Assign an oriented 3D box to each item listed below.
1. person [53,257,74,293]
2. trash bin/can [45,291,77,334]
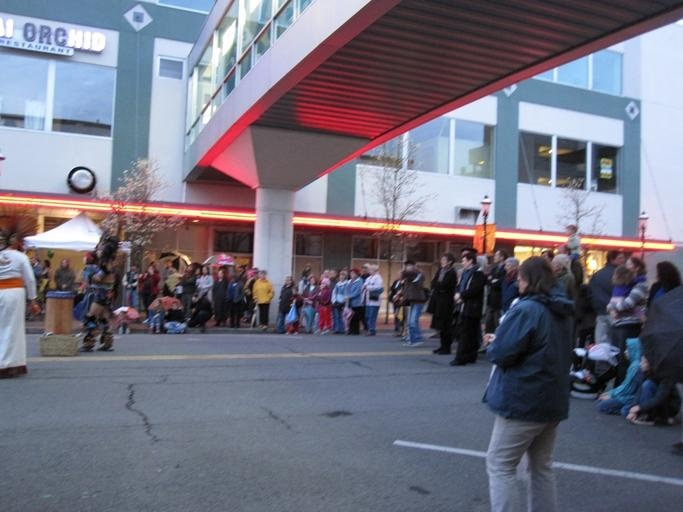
[{"bbox_3d":[-9.587,0.596,19.980,0.553,1.074,2.271,2,-2,-28],"label":"person"},{"bbox_3d":[-6.119,1.226,12.573,0.481,0.939,0.567,2,-2,-37],"label":"trash bin/can"}]
